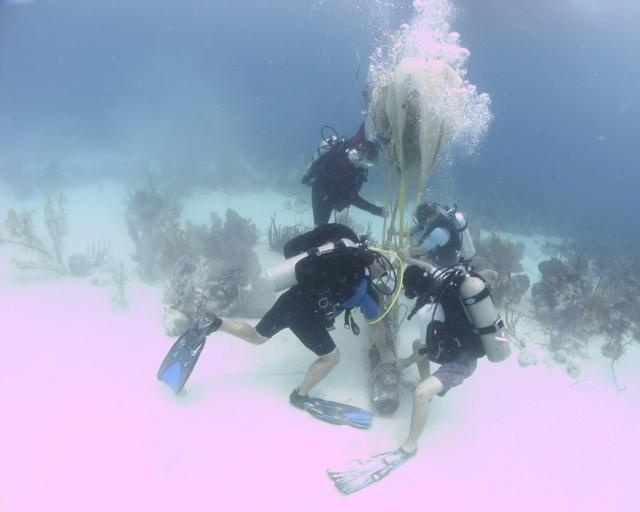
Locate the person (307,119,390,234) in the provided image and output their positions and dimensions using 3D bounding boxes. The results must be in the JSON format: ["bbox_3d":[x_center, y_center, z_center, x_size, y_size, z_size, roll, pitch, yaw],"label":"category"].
[{"bbox_3d":[0.437,-1.413,9.903,1.482,2.142,0.687,20,41,22],"label":"person"}]
